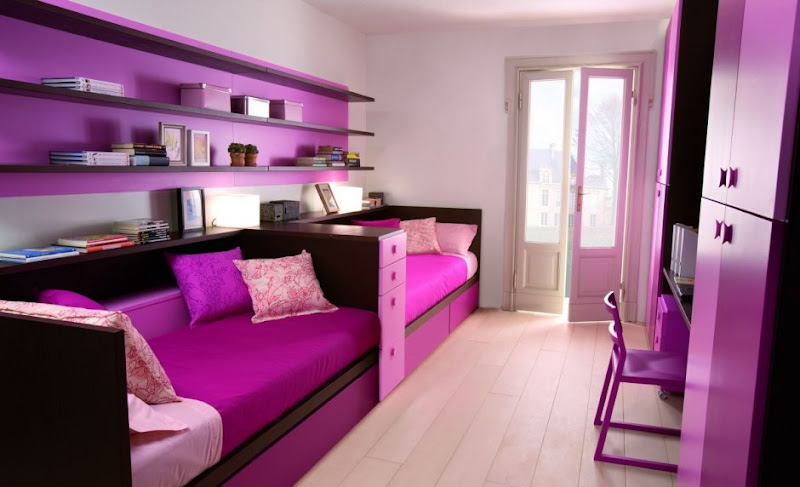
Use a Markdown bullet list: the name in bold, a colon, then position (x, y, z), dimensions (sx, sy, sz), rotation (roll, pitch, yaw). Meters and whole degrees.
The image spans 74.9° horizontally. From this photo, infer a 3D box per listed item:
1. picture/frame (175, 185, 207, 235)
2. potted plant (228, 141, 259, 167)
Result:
- **picture/frame**: position (-1.548, -0.242, 3.842), dimensions (0.067, 0.419, 0.363), rotation (-2, 1, 23)
- **potted plant**: position (-1.249, -0.700, 4.217), dimensions (0.195, 0.204, 0.275), rotation (5, 7, 21)
